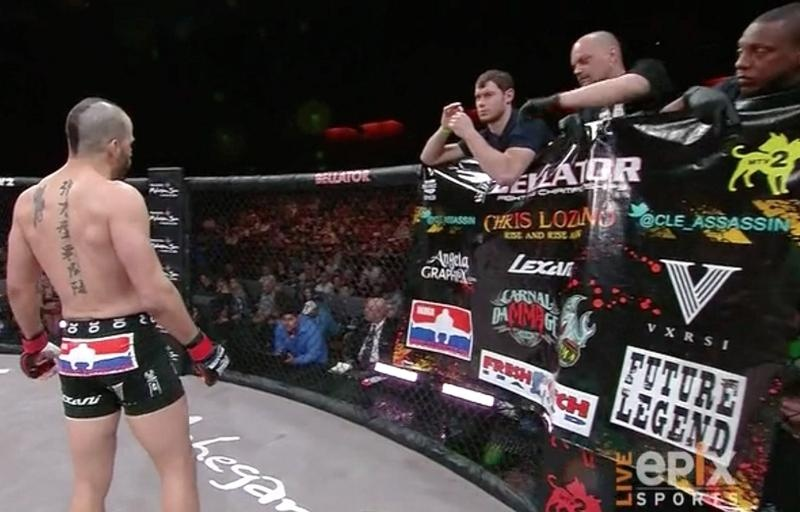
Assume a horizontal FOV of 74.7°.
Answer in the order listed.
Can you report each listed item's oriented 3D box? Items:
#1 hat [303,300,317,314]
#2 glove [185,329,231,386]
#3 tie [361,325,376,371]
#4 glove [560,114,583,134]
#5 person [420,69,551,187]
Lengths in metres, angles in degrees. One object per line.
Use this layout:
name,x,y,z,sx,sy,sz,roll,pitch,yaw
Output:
hat,-0.810,0.455,4.624,0.141,0.127,0.041,6,15,25
glove,-1.077,0.590,3.018,0.148,0.236,0.326,-46,-6,-25
tie,-0.249,0.721,4.110,0.082,0.299,0.174,3,12,-31
glove,0.985,-0.765,3.043,0.060,0.108,0.183,-9,15,-33
person,0.554,-0.774,3.397,0.850,0.597,0.938,-1,6,-39
